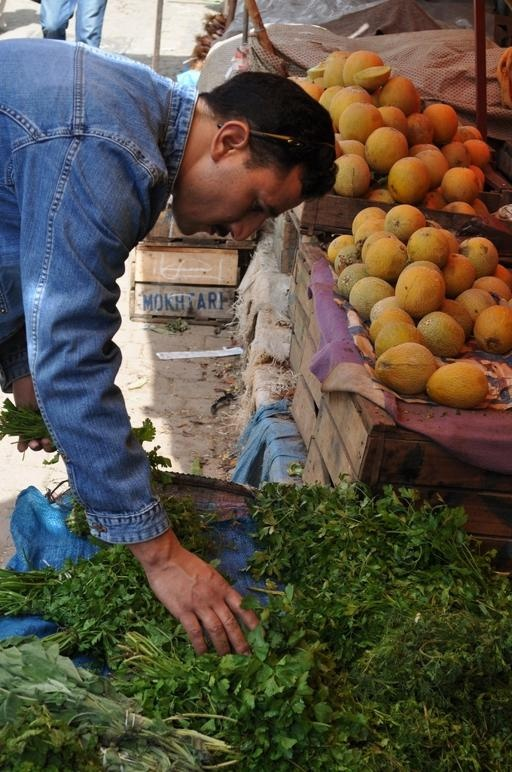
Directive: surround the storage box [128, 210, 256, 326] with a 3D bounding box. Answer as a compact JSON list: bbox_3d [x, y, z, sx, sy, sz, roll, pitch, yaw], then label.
[{"bbox_3d":[-0.640,-1.204,6.241,1.300,1.160,0.712,1,45,-7],"label":"storage box"}]
